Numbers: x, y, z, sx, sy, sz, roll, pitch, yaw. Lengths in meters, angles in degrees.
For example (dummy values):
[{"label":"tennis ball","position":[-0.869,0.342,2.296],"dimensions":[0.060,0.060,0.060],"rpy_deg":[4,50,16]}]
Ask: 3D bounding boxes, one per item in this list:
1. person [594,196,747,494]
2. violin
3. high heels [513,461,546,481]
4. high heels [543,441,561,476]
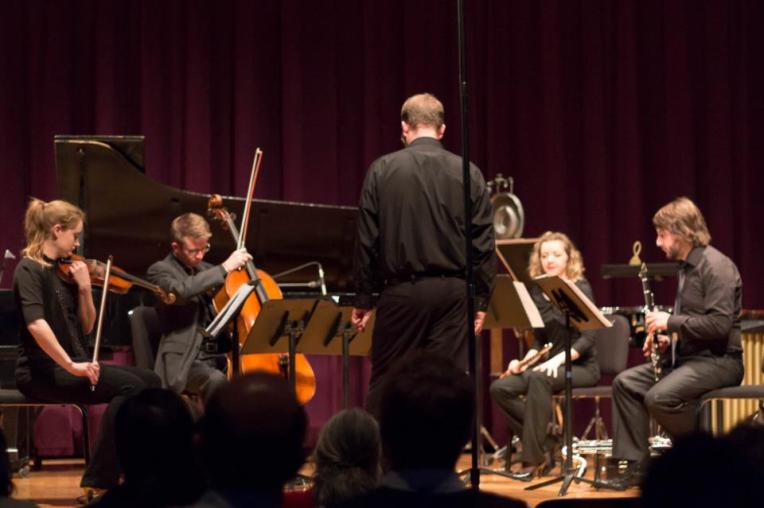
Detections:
[{"label":"person","position":[2.113,0.658,6.626],"dimensions":[0.925,1.984,0.950],"rpy_deg":[2,-4,20]},{"label":"violin","position":[-1.933,0.200,6.747],"dimensions":[0.844,0.159,0.309],"rpy_deg":[22,12,-46]},{"label":"high heels","position":[1.140,1.604,6.876],"dimensions":[0.327,0.162,0.108],"rpy_deg":[4,-6,-31]},{"label":"high heels","position":[1.300,1.536,7.196],"dimensions":[0.130,0.172,0.402],"rpy_deg":[-1,14,12]}]
